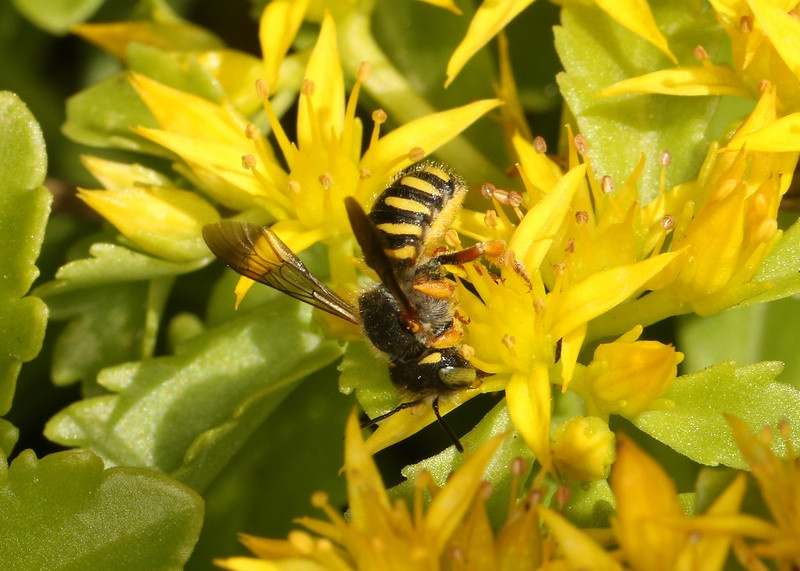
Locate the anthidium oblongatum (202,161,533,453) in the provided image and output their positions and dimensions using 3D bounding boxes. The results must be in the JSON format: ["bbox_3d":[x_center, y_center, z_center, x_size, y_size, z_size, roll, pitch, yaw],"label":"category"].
[{"bbox_3d":[-0.037,0.005,1.106,0.309,0.133,0.386,-26,86,-17],"label":"anthidium oblongatum"}]
